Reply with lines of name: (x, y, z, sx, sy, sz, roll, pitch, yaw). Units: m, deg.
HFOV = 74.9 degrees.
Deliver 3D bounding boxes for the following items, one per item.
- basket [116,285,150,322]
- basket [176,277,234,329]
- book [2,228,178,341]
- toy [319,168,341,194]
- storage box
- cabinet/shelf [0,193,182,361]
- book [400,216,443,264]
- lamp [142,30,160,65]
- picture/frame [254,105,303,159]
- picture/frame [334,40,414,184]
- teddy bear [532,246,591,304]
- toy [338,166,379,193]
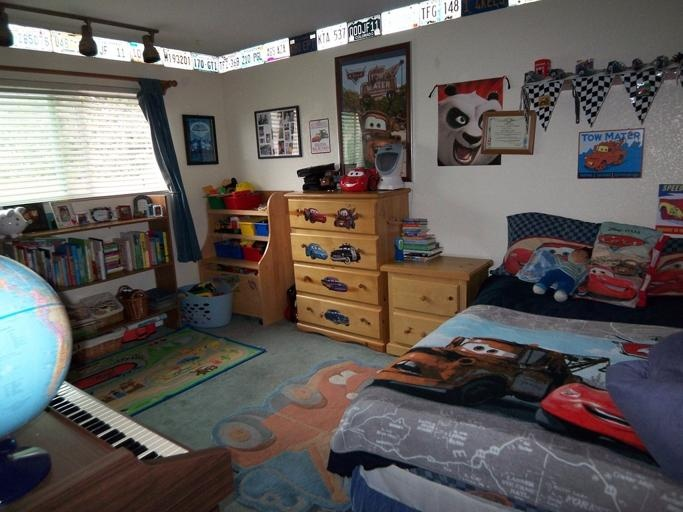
basket: (-1.982, 0.435, 4.228, 0.399, 0.245, 0.216, 5, 15, 40)
basket: (-1.370, 0.522, 4.608, 0.575, 0.350, 0.474, 4, -7, 40)
book: (-1.777, 0.175, 3.219, 0.343, 0.582, 1.135, 20, 23, 41)
toy: (-0.099, -0.693, 4.092, 0.207, 0.219, 0.081, 4, -5, -18)
storage box: (-1.076, -0.328, 4.747, 0.883, 0.555, 0.439, 4, 9, 30)
cabinet/shelf: (-1.825, 0.116, 3.300, 0.459, 1.155, 1.439, 21, 28, 39)
book: (0.622, -0.137, 3.703, 0.393, 0.318, 0.398, 3, 12, 34)
lamp: (-1.702, -1.858, 3.954, 0.132, 0.303, 0.383, -9, 16, -19)
picture/frame: (-0.656, -1.286, 4.713, 0.732, 0.511, 0.033, 11, 19, 42)
picture/frame: (0.288, -1.268, 4.051, 0.774, 1.157, 0.095, 6, 19, 31)
teddy bear: (1.520, 0.119, 3.022, 0.458, 0.130, 0.242, -41, 42, -24)
toy: (0.184, -0.676, 3.899, 0.246, 0.135, 0.339, 2, 12, 20)
